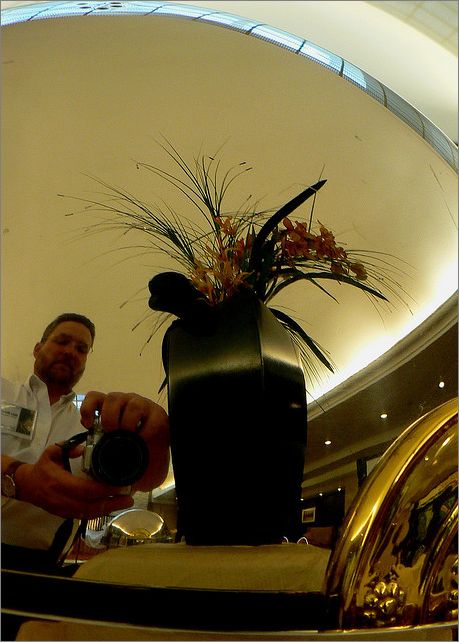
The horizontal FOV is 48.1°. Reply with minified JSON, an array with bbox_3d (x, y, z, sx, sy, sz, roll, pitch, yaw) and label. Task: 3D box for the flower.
[{"bbox_3d":[0.014,-0.030,0.473,0.219,0.095,0.242,9,-11,6],"label":"flower"}]
